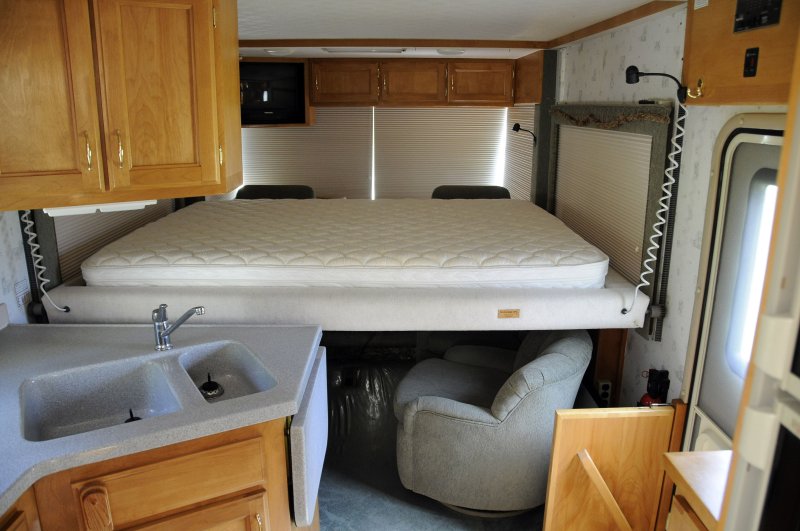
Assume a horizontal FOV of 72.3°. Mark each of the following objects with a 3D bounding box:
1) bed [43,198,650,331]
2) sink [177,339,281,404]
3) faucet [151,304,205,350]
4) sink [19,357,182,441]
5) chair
[{"bbox_3d":[-0.260,0.119,3.593,3.109,0.755,1.323,0,15,-3],"label":"bed"},{"bbox_3d":[-0.738,0.480,2.447,0.474,0.207,0.216,4,15,13],"label":"sink"},{"bbox_3d":[-1.061,0.240,2.593,0.208,0.224,0.458,-7,16,-25],"label":"faucet"},{"bbox_3d":[-1.230,0.569,2.267,0.465,0.187,0.356,-7,27,-24],"label":"sink"},{"bbox_3d":[0.488,0.828,3.149,1.038,0.914,0.791,0,15,0],"label":"chair"}]
